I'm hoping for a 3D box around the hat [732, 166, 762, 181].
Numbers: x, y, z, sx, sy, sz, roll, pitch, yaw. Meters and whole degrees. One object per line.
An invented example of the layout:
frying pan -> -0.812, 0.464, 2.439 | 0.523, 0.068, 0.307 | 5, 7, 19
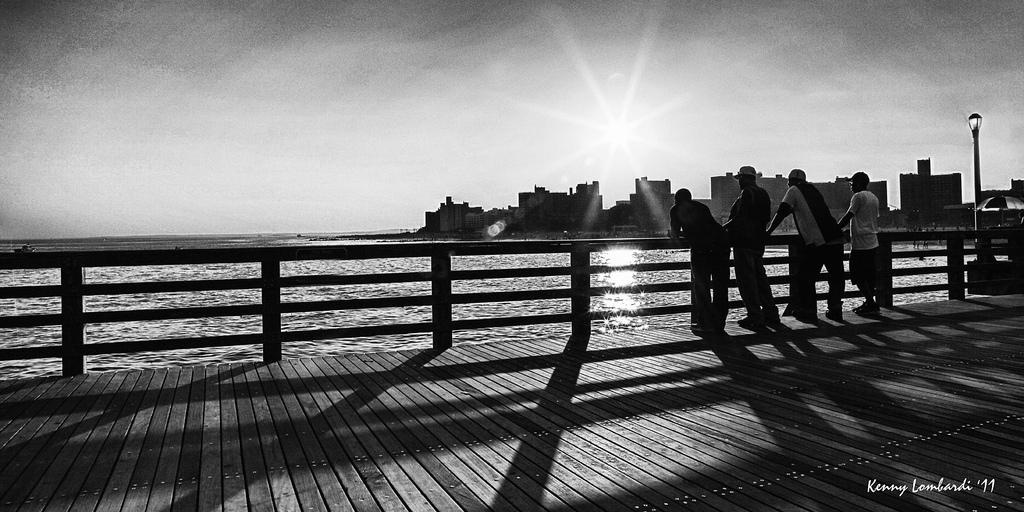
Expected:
hat -> 4.559, -1.601, 12.893 | 0.347, 0.219, 0.489 | 1, 3, 12
